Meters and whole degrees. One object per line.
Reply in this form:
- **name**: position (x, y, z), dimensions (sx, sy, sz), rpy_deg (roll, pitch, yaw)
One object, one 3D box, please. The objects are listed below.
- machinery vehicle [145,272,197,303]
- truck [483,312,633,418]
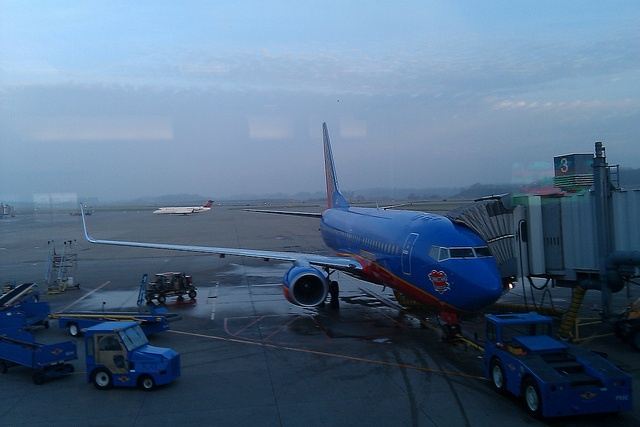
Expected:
- **machinery vehicle**: position (-9.528, 4.683, 32.873), dimensions (2.924, 1.118, 1.627), rpy_deg (-6, 2, -25)
- **truck**: position (8.847, 5.804, 19.462), dimensions (3.136, 3.032, 3.962), rpy_deg (-6, 10, -22)
